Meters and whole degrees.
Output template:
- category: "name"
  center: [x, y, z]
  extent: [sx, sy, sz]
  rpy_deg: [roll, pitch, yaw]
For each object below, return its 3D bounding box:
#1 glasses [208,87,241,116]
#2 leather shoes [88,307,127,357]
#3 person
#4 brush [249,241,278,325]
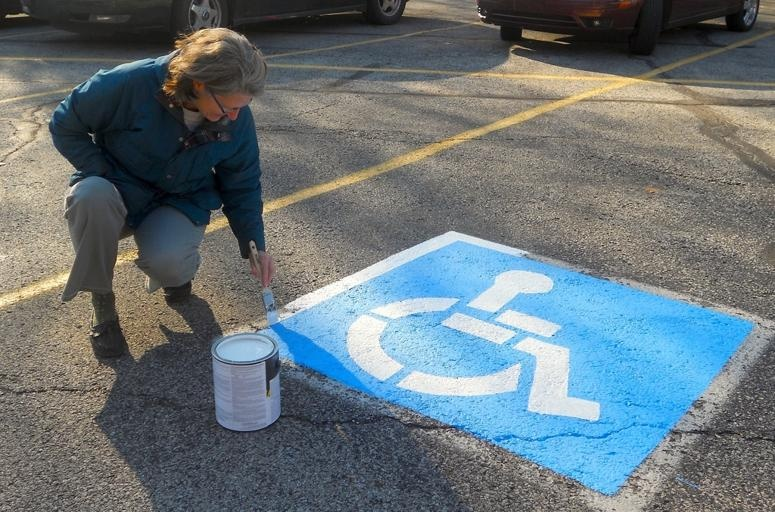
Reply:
- category: "glasses"
  center: [-0.828, -0.776, 3.142]
  extent: [0.141, 0.063, 0.113]
  rpy_deg: [46, 25, 7]
- category: "leather shoes"
  center: [-1.605, 0.430, 3.600]
  extent: [0.201, 0.103, 0.319]
  rpy_deg: [-12, 41, -17]
- category: "person"
  center: [-1.339, -0.432, 3.538]
  extent: [1.178, 1.532, 1.286]
  rpy_deg: [23, 19, 32]
- category: "brush"
  center: [-0.712, 0.168, 3.657]
  extent: [0.257, 0.427, 0.206]
  rpy_deg: [3, 2, -10]
